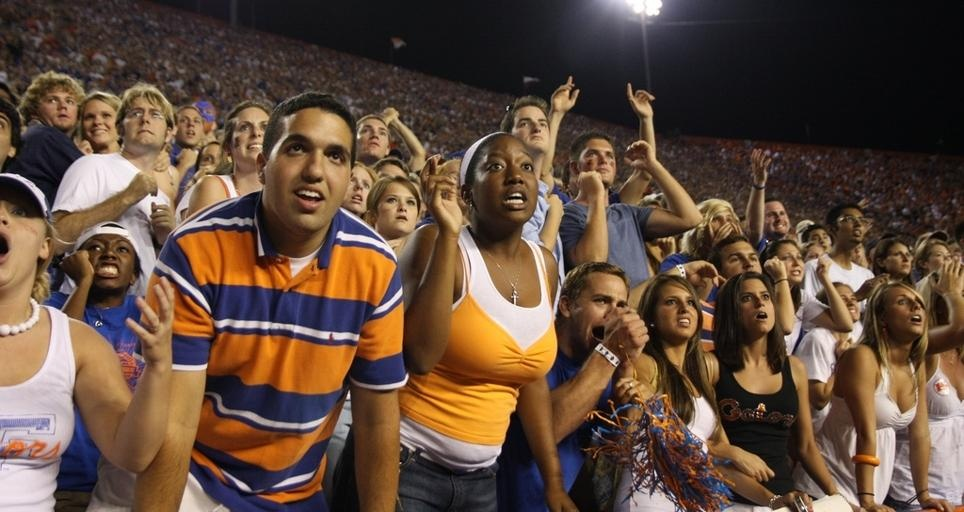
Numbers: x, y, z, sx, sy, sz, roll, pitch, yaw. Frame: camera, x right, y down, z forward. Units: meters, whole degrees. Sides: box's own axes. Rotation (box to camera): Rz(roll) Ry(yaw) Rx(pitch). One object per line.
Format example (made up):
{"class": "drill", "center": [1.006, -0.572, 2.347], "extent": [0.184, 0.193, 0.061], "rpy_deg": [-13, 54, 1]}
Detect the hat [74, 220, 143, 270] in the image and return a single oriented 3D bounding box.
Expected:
{"class": "hat", "center": [-3.823, -0.110, 7.802], "extent": [0.666, 0.483, 0.198], "rpy_deg": [6, 3, -21]}
